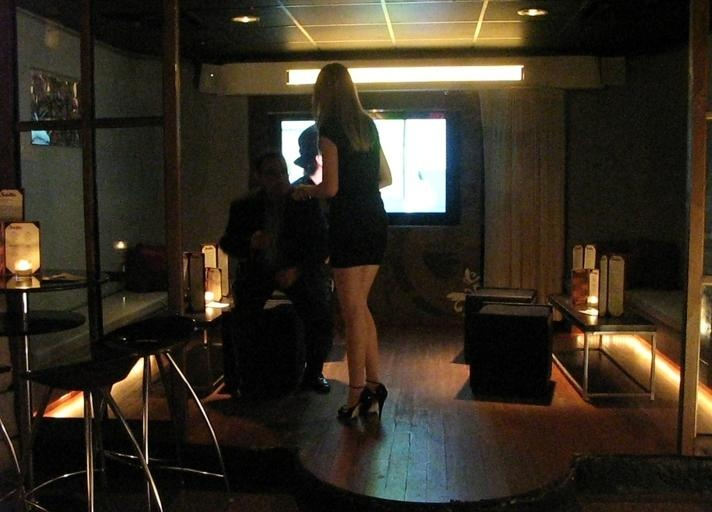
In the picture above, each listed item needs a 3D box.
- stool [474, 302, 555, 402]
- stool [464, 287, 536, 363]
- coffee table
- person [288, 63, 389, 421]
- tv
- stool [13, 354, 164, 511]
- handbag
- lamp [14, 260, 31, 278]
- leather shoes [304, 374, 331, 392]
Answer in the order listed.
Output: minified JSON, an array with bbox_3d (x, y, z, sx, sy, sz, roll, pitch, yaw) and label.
[{"bbox_3d":[0.948,0.583,4.135,0.530,0.498,0.523,1,2,11],"label":"stool"},{"bbox_3d":[0.972,0.451,4.488,0.536,0.511,0.536,1,5,15],"label":"stool"},{"bbox_3d":[1.580,0.574,4.329,0.413,0.436,1.055,0,5,4],"label":"coffee table"},{"bbox_3d":[-0.054,-0.057,3.577,0.489,1.934,0.298,-1,9,0],"label":"person"},{"bbox_3d":[0.149,-0.624,4.641,1.199,0.798,0.046,0,2,1],"label":"tv"},{"bbox_3d":[-1.187,0.780,2.909,0.512,0.772,0.686,-7,11,-37],"label":"stool"},{"bbox_3d":[-0.543,0.570,4.295,0.516,0.550,0.950,-1,6,4],"label":"handbag"},{"bbox_3d":[-1.608,0.059,3.143,0.086,0.094,0.084,0,-3,-8],"label":"lamp"},{"bbox_3d":[-0.244,0.799,4.133,0.196,0.081,0.072,-1,0,39],"label":"leather shoes"}]
